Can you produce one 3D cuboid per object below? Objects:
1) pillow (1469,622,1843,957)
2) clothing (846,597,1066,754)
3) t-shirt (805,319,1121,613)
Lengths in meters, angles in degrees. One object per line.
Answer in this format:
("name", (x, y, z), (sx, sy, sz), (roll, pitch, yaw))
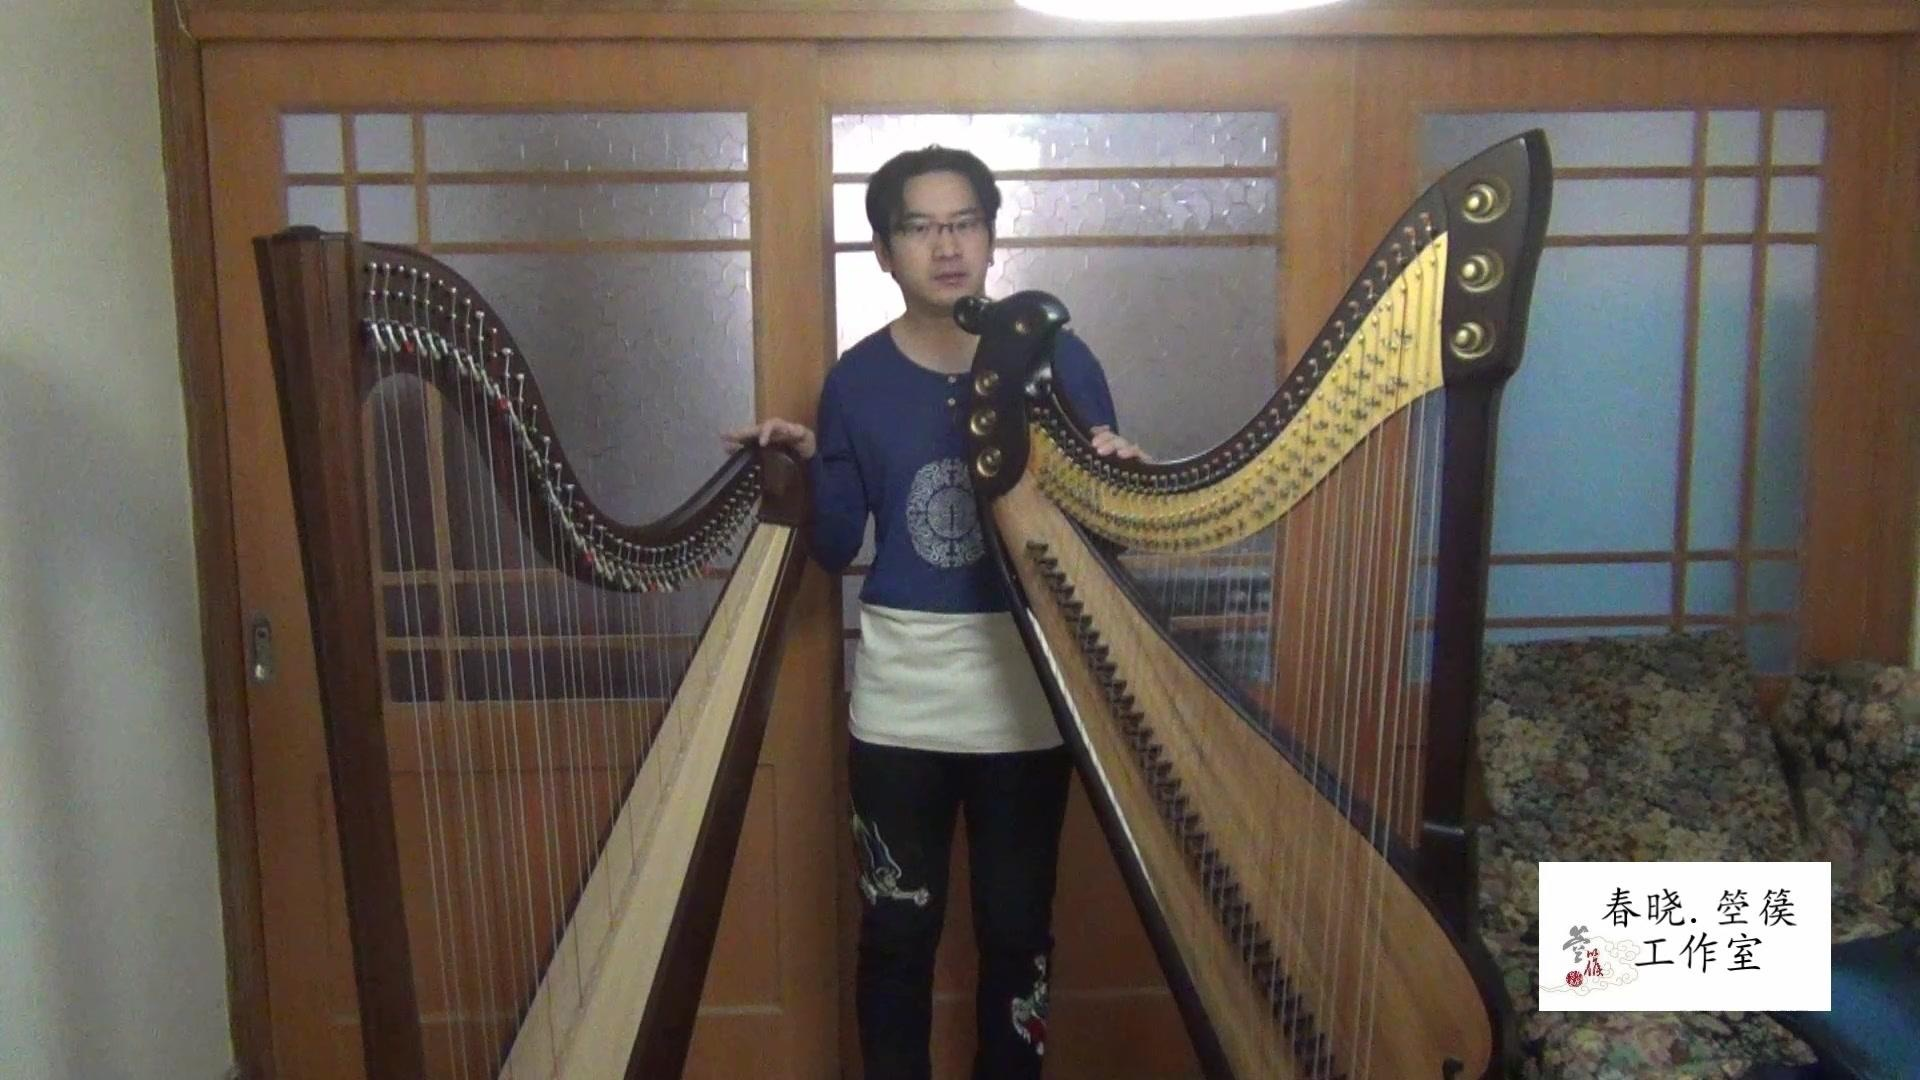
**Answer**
("pillow", (1.519, 0.492, 3.751), (0.683, 0.712, 0.180), (-1, 1, -4))
("clothing", (-0.027, 0.305, 3.544), (0.521, 0.372, 0.294), (0, -2, 2))
("t-shirt", (0.007, -0.173, 3.606), (0.666, 0.613, 0.364), (-2, 26, -2))
